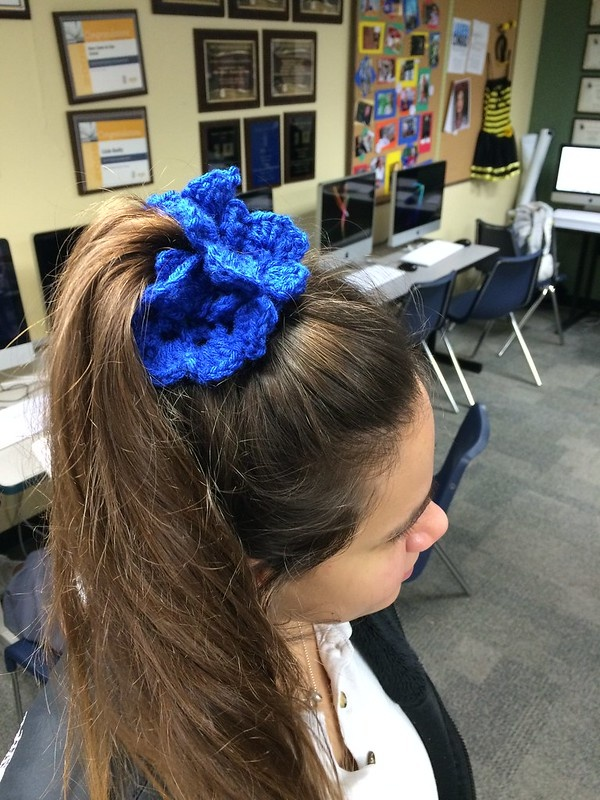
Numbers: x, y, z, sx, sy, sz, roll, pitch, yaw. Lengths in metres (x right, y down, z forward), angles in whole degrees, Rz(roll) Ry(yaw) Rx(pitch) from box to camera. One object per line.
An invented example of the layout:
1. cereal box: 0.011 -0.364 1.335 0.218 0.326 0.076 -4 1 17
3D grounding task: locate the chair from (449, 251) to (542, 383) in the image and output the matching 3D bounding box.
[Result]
1. chair: 1.270 -0.516 4.114 0.455 0.750 0.552 -24 51 -22

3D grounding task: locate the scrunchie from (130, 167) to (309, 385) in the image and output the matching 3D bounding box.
1. scrunchie: -0.053 -0.089 0.450 0.118 0.124 0.123 -1 31 -1
